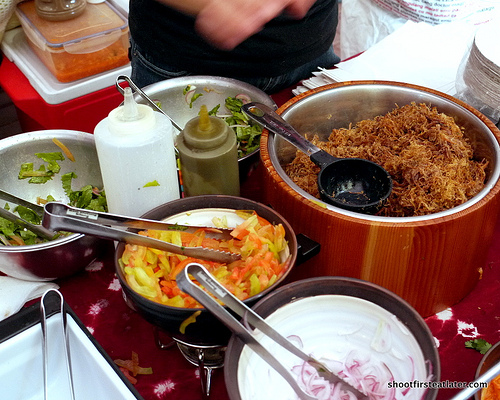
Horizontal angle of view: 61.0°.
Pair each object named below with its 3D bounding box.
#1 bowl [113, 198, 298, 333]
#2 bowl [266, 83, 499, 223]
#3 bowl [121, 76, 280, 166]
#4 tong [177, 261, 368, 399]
[{"bbox_3d":[-0.077,0.056,0.783,0.284,0.119,0.277,-1,39,1],"label":"bowl"},{"bbox_3d":[0.290,-0.100,0.981,0.494,0.144,0.454,-3,54,4],"label":"bowl"},{"bbox_3d":[-0.111,-0.295,1.201,0.310,0.154,0.367,-29,57,-26],"label":"bowl"},{"bbox_3d":[0.039,0.219,0.708,0.405,0.046,0.078,40,90,2],"label":"tong"}]
